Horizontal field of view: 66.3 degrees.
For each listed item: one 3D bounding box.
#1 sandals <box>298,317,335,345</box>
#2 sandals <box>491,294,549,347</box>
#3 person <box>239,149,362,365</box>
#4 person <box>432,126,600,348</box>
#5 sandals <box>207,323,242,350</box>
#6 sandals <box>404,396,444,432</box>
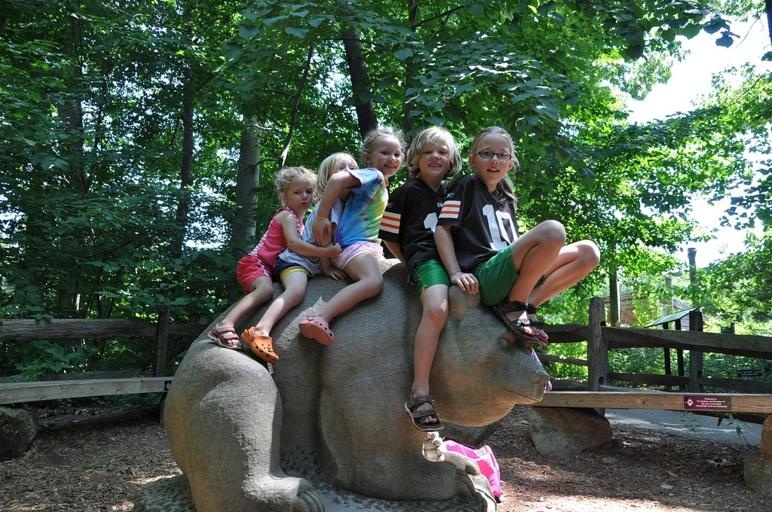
[{"bbox_3d":[-0.597,0.655,5.277,0.334,0.187,0.151,32,28,8],"label":"sandals"},{"bbox_3d":[1.160,0.558,5.208,0.551,0.246,0.253,33,9,25],"label":"sandals"},{"bbox_3d":[-0.789,-0.035,5.573,0.631,2.015,1.067,2,2,35],"label":"person"},{"bbox_3d":[1.120,-0.219,5.326,1.306,1.979,0.601,1,2,18],"label":"person"},{"bbox_3d":[-1.452,0.731,5.416,0.330,0.139,0.169,15,6,30],"label":"sandals"},{"bbox_3d":[0.305,1.305,5.093,0.241,0.196,0.500,2,19,-22],"label":"sandals"}]
